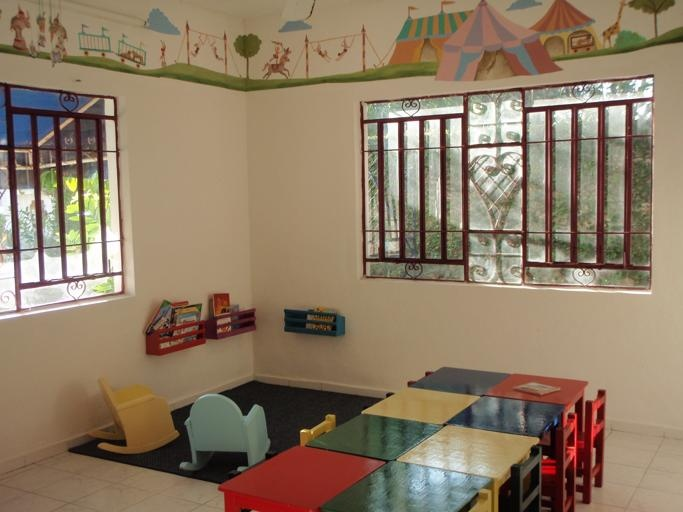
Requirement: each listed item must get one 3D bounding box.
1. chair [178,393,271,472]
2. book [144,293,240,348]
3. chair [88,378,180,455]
[{"bbox_3d":[-0.919,1.381,4.425,0.523,0.676,0.694,-2,5,14],"label":"chair"},{"bbox_3d":[-1.497,0.667,5.764,0.252,0.522,1.168,8,14,36],"label":"book"},{"bbox_3d":[-1.860,1.382,4.946,0.760,0.610,0.639,-5,4,-15],"label":"chair"}]
